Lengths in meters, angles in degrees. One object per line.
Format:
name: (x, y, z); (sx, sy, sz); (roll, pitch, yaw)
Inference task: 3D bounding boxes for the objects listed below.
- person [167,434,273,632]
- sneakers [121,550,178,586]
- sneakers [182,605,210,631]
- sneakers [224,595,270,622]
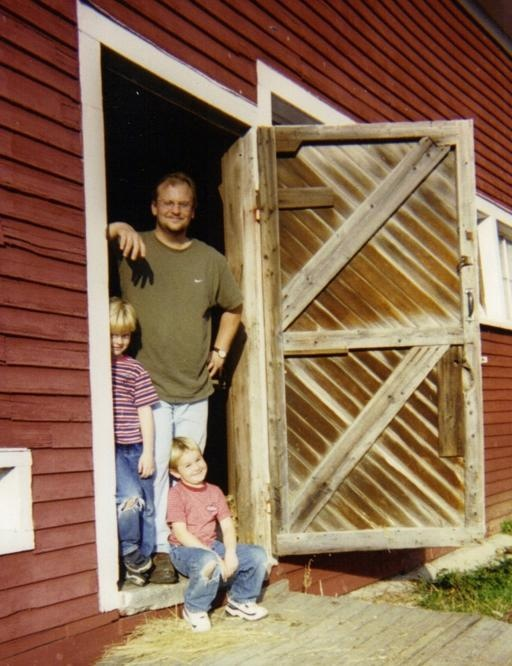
person: (-0.206, 0.876, 3.874); (0.435, 0.792, 0.432); (5, -7, -38)
sneakers: (-0.453, 1.045, 3.774); (0.255, 0.120, 0.157); (2, -6, -21)
sneakers: (-0.268, 1.208, 3.623); (0.170, 0.085, 0.100); (-4, -7, 39)
sneakers: (-0.038, 1.218, 3.793); (0.184, 0.090, 0.071); (0, 8, 18)
